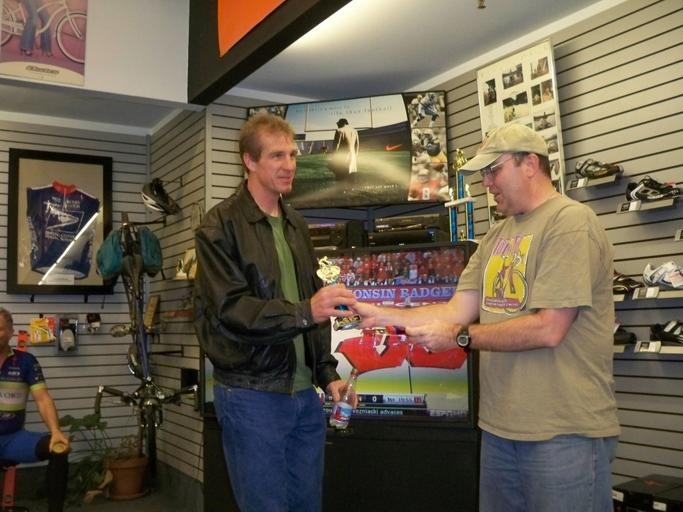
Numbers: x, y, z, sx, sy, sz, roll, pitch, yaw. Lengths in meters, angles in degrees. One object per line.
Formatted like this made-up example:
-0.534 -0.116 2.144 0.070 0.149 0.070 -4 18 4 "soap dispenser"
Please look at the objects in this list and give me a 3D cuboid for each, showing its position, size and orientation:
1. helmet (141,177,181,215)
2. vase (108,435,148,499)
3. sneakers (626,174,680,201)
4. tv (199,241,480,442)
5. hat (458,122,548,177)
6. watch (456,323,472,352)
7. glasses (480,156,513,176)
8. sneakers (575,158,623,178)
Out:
-2.087 -0.696 6.387 0.348 0.435 0.438 -3 0 16 "helmet"
-2.314 2.283 5.969 0.505 0.540 0.515 -8 -15 18 "vase"
2.265 -0.493 3.987 0.208 0.173 0.333 -3 0 -32 "sneakers"
0.075 0.537 3.298 1.582 1.081 0.204 -4 -11 25 "tv"
0.810 -0.521 2.681 0.405 0.195 0.258 -5 -1 18 "hat"
0.561 0.376 2.496 0.069 0.112 0.112 -2 -1 23 "watch"
0.737 -0.424 2.608 0.094 0.027 0.088 -24 15 -20 "glasses"
1.979 -0.681 4.259 0.355 0.142 0.117 -4 4 30 "sneakers"
